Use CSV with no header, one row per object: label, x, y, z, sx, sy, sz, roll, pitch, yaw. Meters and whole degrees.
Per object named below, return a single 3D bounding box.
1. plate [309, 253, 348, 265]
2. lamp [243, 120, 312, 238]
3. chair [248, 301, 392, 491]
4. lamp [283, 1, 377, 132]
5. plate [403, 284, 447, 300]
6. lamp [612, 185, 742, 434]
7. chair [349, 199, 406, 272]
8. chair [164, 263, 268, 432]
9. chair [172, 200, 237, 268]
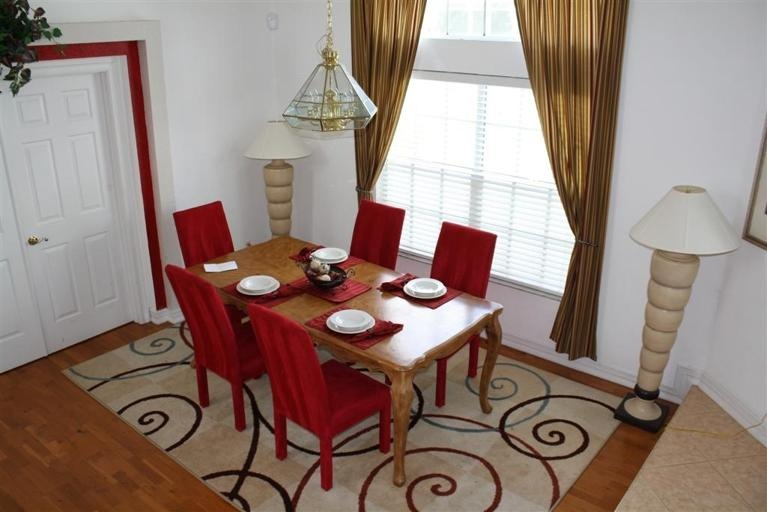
plate,-0.513,0.038,5.042,0.347,0.044,0.174,1,26,1
lamp,-1.168,-0.805,6.157,0.693,1.484,0.772,-3,27,-7
chair,-0.460,1.004,4.188,0.839,1.375,0.985,8,16,30
lamp,-0.361,-1.207,3.679,0.536,0.704,0.406,-23,35,-39
plate,0.350,0.307,4.564,0.360,0.062,0.195,2,26,2
lamp,2.293,0.463,4.411,0.609,1.997,0.659,-21,33,-36
chair,-0.070,-0.215,5.356,0.564,0.543,0.271,18,31,31
chair,-1.243,0.721,4.678,0.790,1.389,0.948,13,23,31
chair,-1.808,-0.218,5.382,0.504,0.512,0.290,-16,31,-31
